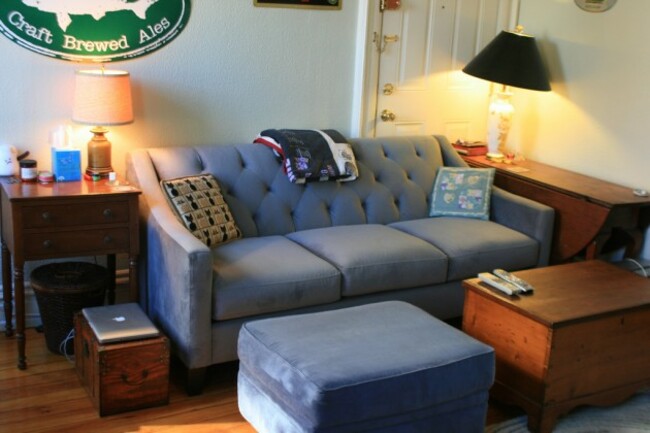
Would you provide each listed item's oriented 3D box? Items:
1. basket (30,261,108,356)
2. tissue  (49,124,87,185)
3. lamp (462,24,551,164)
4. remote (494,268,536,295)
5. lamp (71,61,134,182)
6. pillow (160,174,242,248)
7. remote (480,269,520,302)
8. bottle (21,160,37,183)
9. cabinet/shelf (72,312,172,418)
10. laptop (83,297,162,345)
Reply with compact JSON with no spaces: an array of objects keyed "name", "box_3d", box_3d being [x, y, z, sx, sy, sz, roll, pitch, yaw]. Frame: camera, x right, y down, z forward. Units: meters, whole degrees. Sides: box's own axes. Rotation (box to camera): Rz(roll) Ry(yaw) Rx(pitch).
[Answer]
[{"name":"basket","box_3d":[-1.522,0.544,3.130,0.388,0.370,0.381,-3,-4,32]},{"name":"tissue ","box_3d":[-1.573,-0.368,3.153,0.211,0.284,0.222,-1,10,-11]},{"name":"lamp","box_3d":[1.441,-0.985,4.207,0.732,1.009,0.772,20,19,42]},{"name":"remote","box_3d":[1.016,0.339,2.823,0.098,0.027,0.182,-9,26,-38]},{"name":"lamp","box_3d":[-1.319,-0.569,3.156,0.350,0.640,0.242,-9,21,-17]},{"name":"pillow","box_3d":[-0.721,-0.077,3.166,0.583,0.508,0.143,11,26,30]},{"name":"remote","box_3d":[0.933,0.352,2.797,0.088,0.028,0.177,-17,34,-41]},{"name":"bottle","box_3d":[-1.715,-0.265,3.030,0.122,0.120,0.116,-2,10,-28]},{"name":"cabinet/shelf","box_3d":[-1.059,0.805,2.818,0.462,0.356,0.570,-6,20,-30]},{"name":"laptop","box_3d":[-1.105,0.561,2.811,0.303,0.041,0.396,0,16,-36]}]
